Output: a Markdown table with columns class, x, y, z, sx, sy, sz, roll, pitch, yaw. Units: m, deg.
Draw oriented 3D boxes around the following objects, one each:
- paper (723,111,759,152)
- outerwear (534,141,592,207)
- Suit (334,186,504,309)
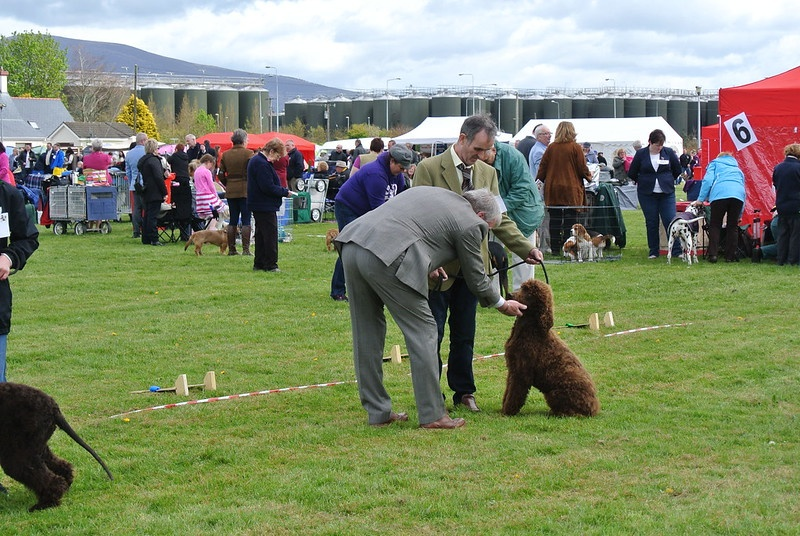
| class | x | y | z | sx | sy | sz | roll | pitch | yaw |
| --- | --- | --- | --- | --- | --- | --- | --- | --- | --- |
| paper | 6.821 | -2.733 | 23.624 | 0.562 | 0.857 | 0.031 | -9 | -27 | -2 |
| outerwear | 3.050 | -1.720 | 22.045 | 0.939 | 1.257 | 0.719 | -1 | -10 | 18 |
| Suit | 0.213 | -0.223 | 13.509 | 1.505 | 1.176 | 1.092 | -15 | 31 | -25 |
